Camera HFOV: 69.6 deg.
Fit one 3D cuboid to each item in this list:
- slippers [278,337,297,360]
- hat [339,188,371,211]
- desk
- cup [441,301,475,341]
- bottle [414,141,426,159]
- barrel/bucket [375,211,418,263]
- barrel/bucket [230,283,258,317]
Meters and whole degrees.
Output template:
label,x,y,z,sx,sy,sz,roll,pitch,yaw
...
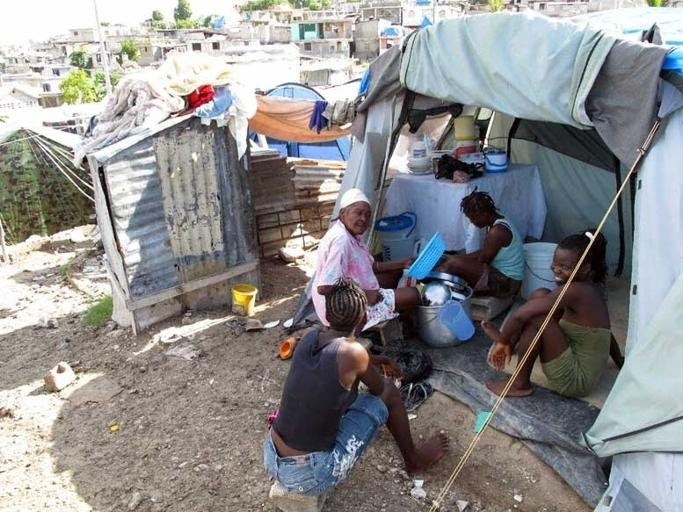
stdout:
label,x,y,z,sx,sy,sz,roll,pitch,yaw
slippers,-0.541,0.882,4.843,0.214,0.217,0.100,-27,-32,37
hat,0.107,-0.507,4.383,0.198,0.189,0.222,-8,10,-34
desk,1.760,-0.590,5.955,1.049,0.593,1.217,-33,16,-38
cup,1.060,0.597,4.541,0.202,0.295,0.199,-31,31,21
bottle,0.966,-1.289,5.967,0.195,0.178,0.152,-6,25,-8
barrel/bucket,0.659,-0.218,5.899,0.500,0.694,0.512,-2,23,1
barrel/bucket,-1.137,0.489,5.811,0.317,0.307,0.334,7,10,-1
